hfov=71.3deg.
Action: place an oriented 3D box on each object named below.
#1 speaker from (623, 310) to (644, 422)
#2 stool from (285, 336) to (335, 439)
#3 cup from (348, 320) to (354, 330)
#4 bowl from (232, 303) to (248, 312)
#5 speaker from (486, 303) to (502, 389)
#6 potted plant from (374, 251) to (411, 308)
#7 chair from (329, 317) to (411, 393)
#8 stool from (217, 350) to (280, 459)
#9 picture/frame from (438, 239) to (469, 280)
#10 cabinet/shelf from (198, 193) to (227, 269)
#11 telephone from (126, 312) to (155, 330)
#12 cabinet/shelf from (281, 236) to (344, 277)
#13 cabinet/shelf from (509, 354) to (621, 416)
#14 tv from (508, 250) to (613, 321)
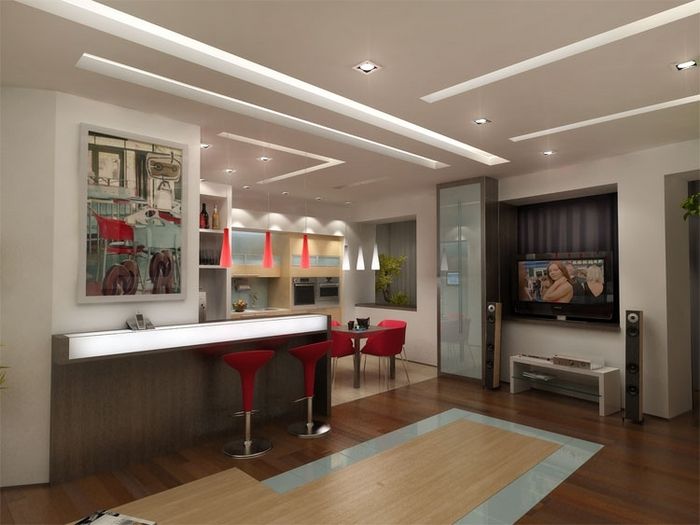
[{"bbox_3d":[3.362,1.230,5.782,0.227,1.272,0.418,4,8,28],"label":"speaker"},{"bbox_3d":[-0.462,1.382,5.660,0.477,1.044,0.808,0,7,-2],"label":"stool"},{"bbox_3d":[0.005,0.956,7.518,0.107,0.119,0.110,2,-5,0],"label":"cup"},{"bbox_3d":[-2.003,0.800,8.802,0.202,0.216,0.273,-2,7,-16],"label":"bowl"},{"bbox_3d":[2.091,1.206,7.137,0.209,1.231,0.302,1,7,12],"label":"speaker"},{"bbox_3d":[0.848,0.368,9.979,0.680,1.079,1.557,0,7,3],"label":"potted plant"},{"bbox_3d":[0.255,1.390,7.457,1.010,0.887,0.885,-3,-6,44],"label":"chair"},{"bbox_3d":[-1.071,1.391,5.184,0.520,1.063,0.809,-1,7,-7],"label":"stool"},{"bbox_3d":[1.628,-0.059,7.622,0.031,0.717,0.624,4,-3,-34],"label":"picture/frame"},{"bbox_3d":[-2.263,-0.486,7.704,0.506,1.170,0.325,5,-8,-33],"label":"cabinet/shelf"},{"bbox_3d":[-2.079,0.588,4.821,0.254,0.141,0.307,-3,7,-24],"label":"telephone"},{"bbox_3d":[-0.795,-0.117,10.023,1.368,0.949,0.747,1,1,-22],"label":"cabinet/shelf"},{"bbox_3d":[2.890,1.583,6.565,0.633,0.601,1.324,-6,9,-41],"label":"cabinet/shelf"},{"bbox_3d":[3.024,0.334,6.879,1.024,0.777,0.137,-1,-3,43],"label":"tv"}]
